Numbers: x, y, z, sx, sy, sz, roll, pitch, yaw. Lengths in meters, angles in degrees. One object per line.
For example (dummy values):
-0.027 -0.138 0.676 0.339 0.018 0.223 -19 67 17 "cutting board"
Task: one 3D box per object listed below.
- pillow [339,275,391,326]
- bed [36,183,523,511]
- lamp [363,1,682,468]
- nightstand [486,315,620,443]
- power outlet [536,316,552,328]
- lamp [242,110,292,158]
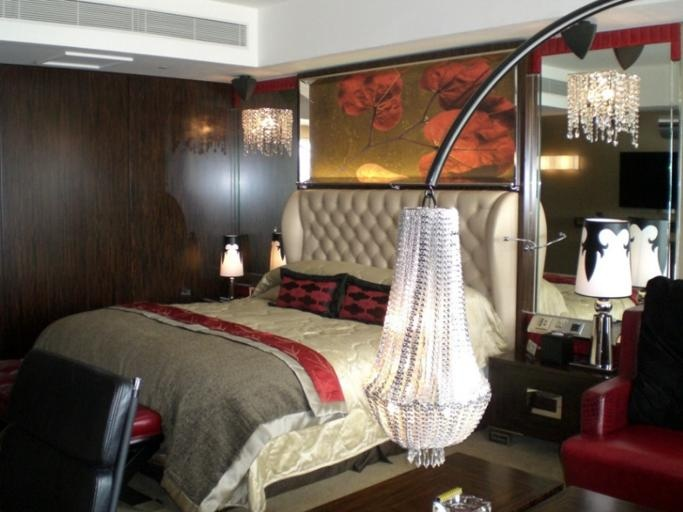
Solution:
0.203 0.381 4.384 0.445 0.323 0.125 5 -17 44 "pillow"
-0.309 0.702 4.100 2.599 1.784 2.650 0 4 -42 "bed"
0.344 0.032 1.539 0.528 1.400 0.315 0 7 -8 "lamp"
1.551 0.870 3.903 0.761 0.615 0.747 -1 5 -43 "nightstand"
1.624 0.535 4.190 0.020 0.083 0.081 17 -14 -38 "power outlet"
-0.849 -1.452 6.149 0.585 0.482 0.590 5 10 25 "lamp"
